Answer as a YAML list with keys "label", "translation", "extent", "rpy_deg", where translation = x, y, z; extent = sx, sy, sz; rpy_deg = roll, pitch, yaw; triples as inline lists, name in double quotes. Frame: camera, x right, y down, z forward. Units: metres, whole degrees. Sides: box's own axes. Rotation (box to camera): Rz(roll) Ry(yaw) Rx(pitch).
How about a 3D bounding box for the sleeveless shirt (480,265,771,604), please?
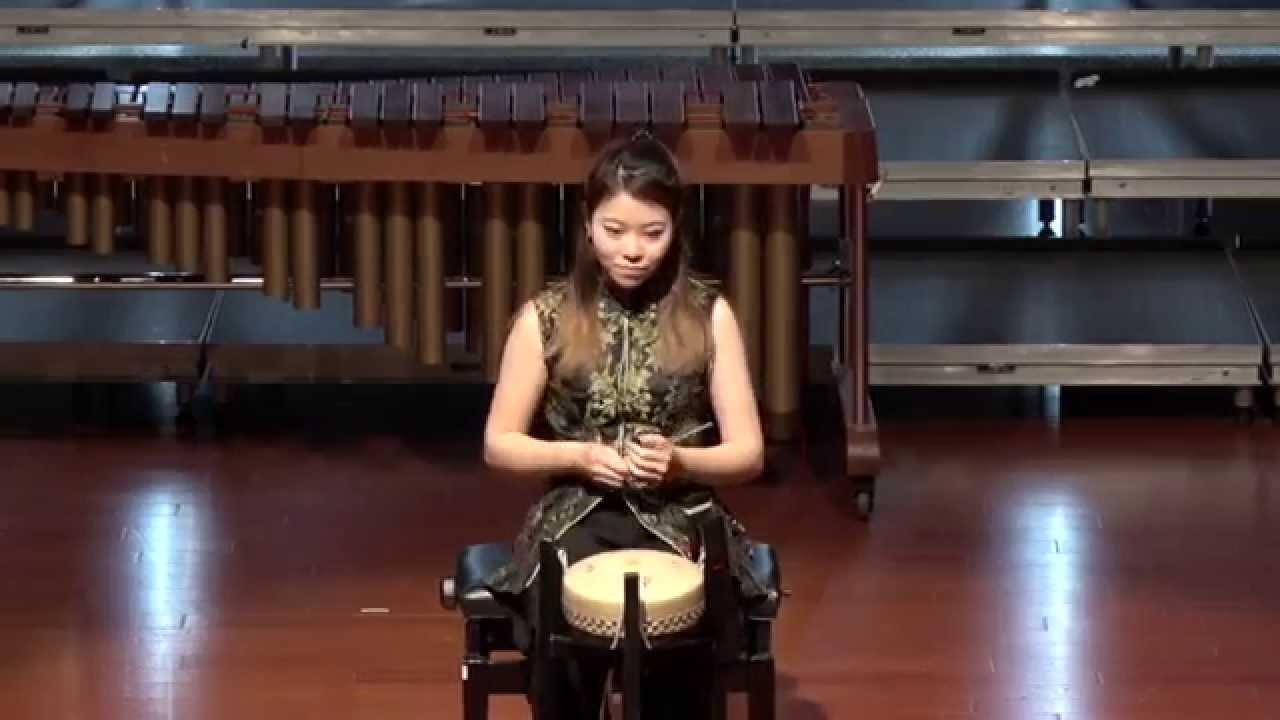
- label: "sleeveless shirt"
  translation: [-0.052, 0.160, 4.011]
  extent: [1.163, 1.224, 0.735]
  rpy_deg: [1, 5, 3]
